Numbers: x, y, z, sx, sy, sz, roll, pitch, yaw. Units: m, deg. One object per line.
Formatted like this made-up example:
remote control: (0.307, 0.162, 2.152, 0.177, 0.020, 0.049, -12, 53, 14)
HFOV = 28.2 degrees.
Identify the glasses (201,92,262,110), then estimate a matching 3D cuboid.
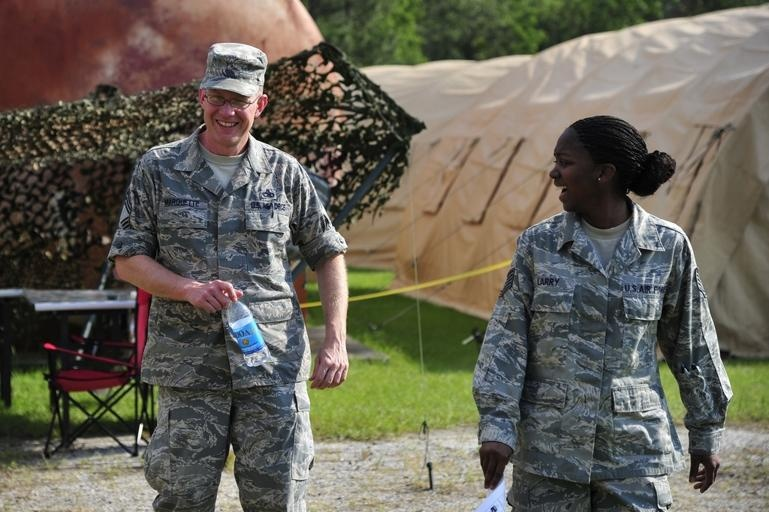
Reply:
glasses: (-1.060, -1.065, 10.553, 0.421, 0.132, 0.097, 1, 14, -6)

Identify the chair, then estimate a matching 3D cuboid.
chair: (-2.354, 0.895, 12.510, 1.032, 1.327, 0.917, -1, 4, 6)

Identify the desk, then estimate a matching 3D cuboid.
desk: (-2.371, 0.899, 12.532, 0.871, 1.248, 0.803, -4, 5, -16)

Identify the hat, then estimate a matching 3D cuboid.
hat: (-1.052, -1.268, 10.568, 0.441, 0.348, 0.223, 1, 14, -5)
